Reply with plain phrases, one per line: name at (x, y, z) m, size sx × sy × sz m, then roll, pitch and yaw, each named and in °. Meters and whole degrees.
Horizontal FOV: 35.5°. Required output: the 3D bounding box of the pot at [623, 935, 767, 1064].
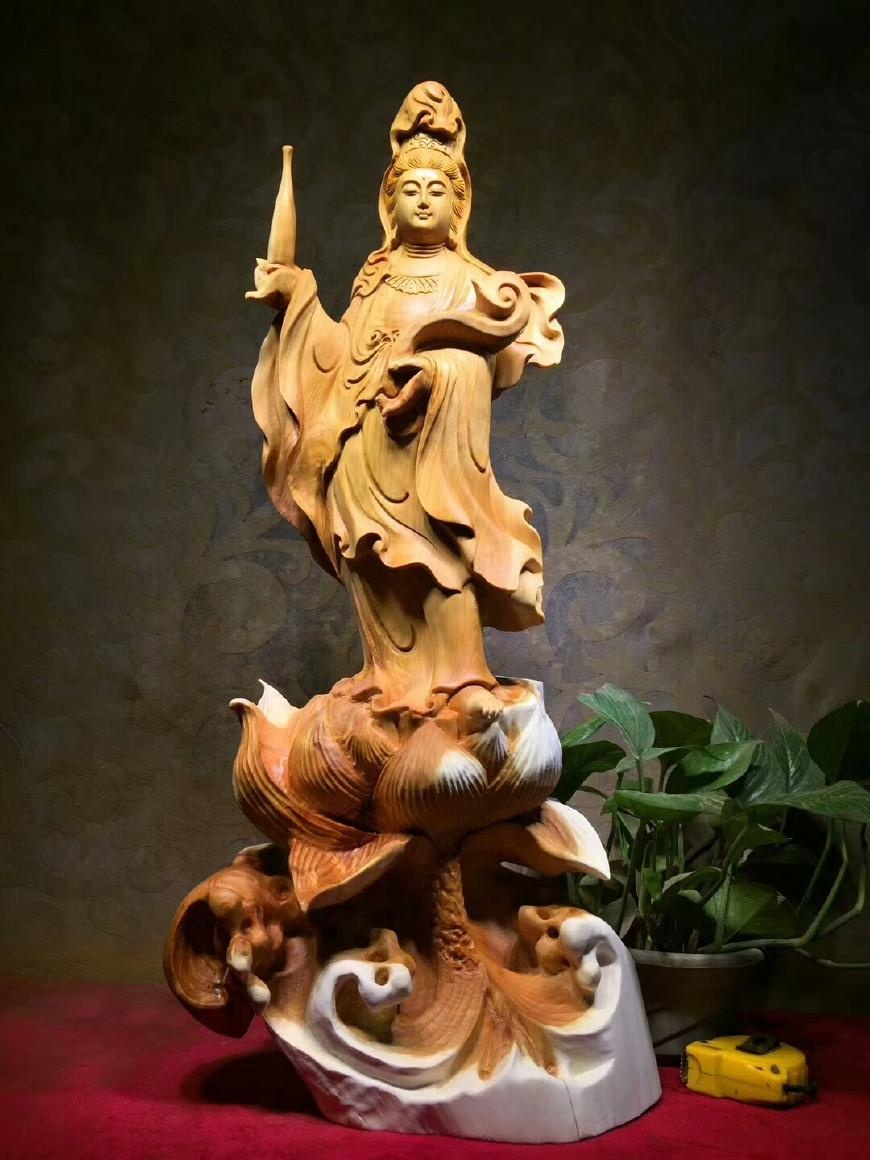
pot at (0.584, 0.950, 3.160) m, size 0.288 × 0.194 × 0.283 m, roll 0°, pitch -4°, yaw 0°

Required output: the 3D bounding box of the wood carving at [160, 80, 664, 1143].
wood carving at (-0.017, -0.041, 3.005) m, size 1.032 × 2.304 × 0.684 m, roll 0°, pitch 1°, yaw 8°

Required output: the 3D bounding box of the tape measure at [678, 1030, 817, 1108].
tape measure at (0.667, 1.050, 2.936) m, size 0.139 × 0.064 × 0.193 m, roll 4°, pitch -5°, yaw -43°
